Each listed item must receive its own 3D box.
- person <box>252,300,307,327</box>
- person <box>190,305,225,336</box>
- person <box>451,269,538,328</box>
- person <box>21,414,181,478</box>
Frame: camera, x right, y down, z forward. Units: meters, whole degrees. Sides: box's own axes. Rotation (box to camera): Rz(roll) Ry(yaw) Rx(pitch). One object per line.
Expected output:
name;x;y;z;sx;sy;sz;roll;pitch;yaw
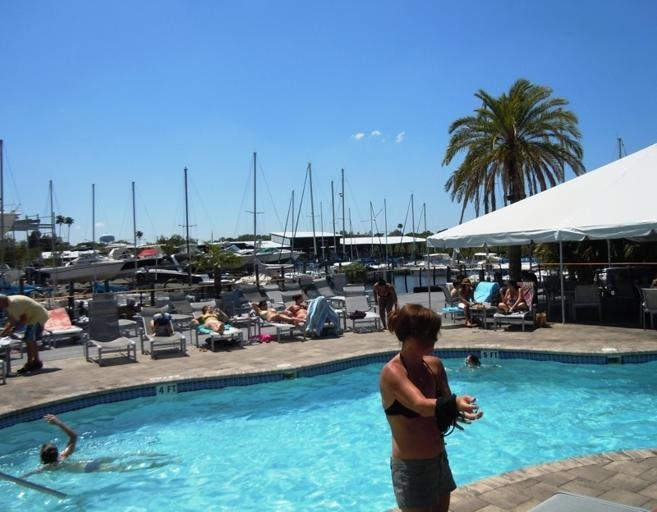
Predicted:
person;-1.342;1.582;13.770;1.554;0.650;0.571;7;8;21
person;-2.831;1.558;12.379;0.502;0.343;0.826;-1;5;-22
person;4.515;1.361;13.357;1.340;0.884;1.983;-1;-1;-38
person;-3.172;2.493;7.179;1.662;0.533;0.914;-3;2;-10
